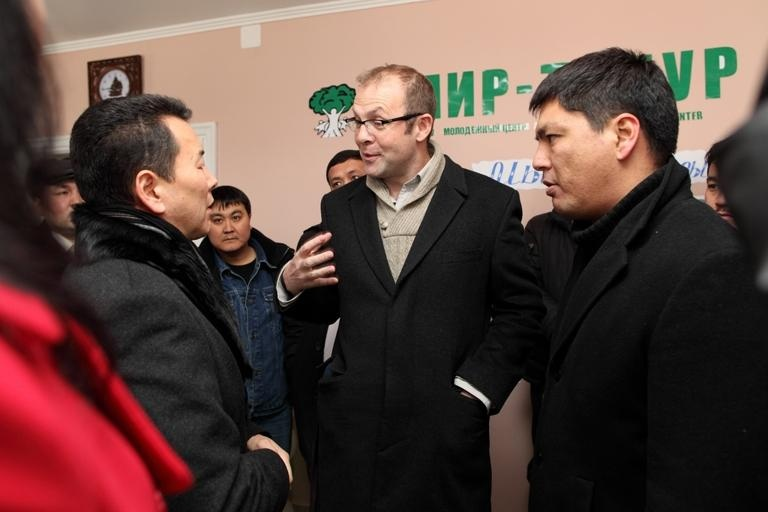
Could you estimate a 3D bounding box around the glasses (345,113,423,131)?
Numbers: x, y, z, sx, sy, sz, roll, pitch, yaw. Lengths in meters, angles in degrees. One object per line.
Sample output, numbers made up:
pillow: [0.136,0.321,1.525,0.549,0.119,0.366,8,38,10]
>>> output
glasses: [0.013,-0.446,1.882,0.229,0.047,0.104,-2,15,12]
